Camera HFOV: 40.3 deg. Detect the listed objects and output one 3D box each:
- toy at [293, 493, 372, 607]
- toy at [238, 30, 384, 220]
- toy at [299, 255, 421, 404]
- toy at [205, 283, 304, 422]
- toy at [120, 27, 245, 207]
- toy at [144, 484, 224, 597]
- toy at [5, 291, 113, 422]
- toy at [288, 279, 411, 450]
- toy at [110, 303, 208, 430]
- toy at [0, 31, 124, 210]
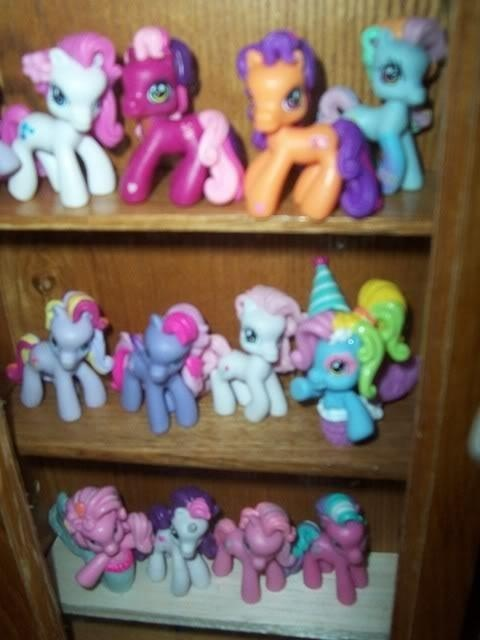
[{"bbox_3d":[0.165,0.397,1.197,0.132,0.229,0.096,19,31,31],"label":"toy"},{"bbox_3d":[0.091,-0.242,0.876,0.175,0.273,0.118,1,-7,10],"label":"toy"},{"bbox_3d":[0.167,0.015,0.983,0.180,0.242,0.178,0,11,-14],"label":"toy"},{"bbox_3d":[0.020,0.058,1.105,0.141,0.245,0.097,10,27,22],"label":"toy"},{"bbox_3d":[-0.088,-0.278,0.894,0.179,0.214,0.112,-5,35,0],"label":"toy"},{"bbox_3d":[-0.112,0.399,1.241,0.098,0.219,0.171,-10,25,-36],"label":"toy"},{"bbox_3d":[-0.321,0.067,1.136,0.132,0.167,0.075,33,43,16],"label":"toy"},{"bbox_3d":[0.159,0.078,1.015,0.163,0.260,0.183,0,36,3],"label":"toy"},{"bbox_3d":[-0.152,0.059,1.126,0.178,0.240,0.095,29,35,32],"label":"toy"},{"bbox_3d":[-0.254,-0.287,0.926,0.135,0.175,0.093,28,45,15],"label":"toy"}]
